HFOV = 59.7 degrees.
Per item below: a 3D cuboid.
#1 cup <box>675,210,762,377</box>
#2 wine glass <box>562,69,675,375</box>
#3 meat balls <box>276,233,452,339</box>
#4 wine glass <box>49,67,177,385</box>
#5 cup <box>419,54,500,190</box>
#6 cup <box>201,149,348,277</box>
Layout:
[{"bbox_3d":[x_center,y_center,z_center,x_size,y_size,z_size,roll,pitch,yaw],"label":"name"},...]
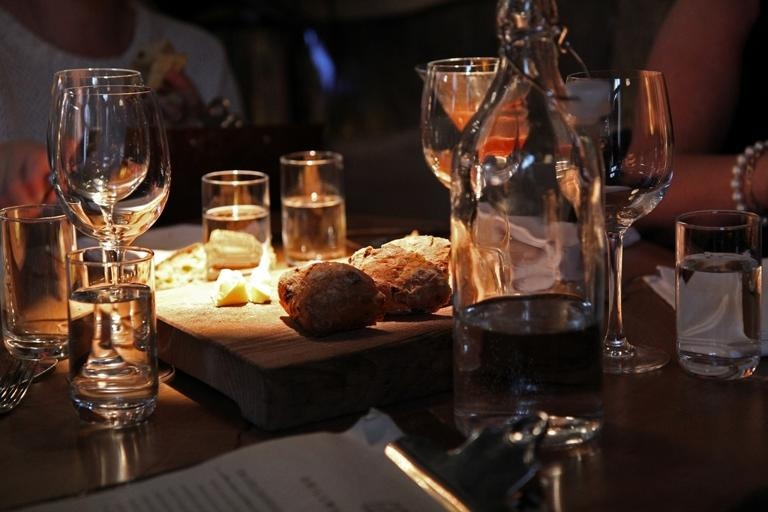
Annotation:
[{"bbox_3d":[0.373,0.041,0.744,0.087,0.178,0.076,2,11,28],"label":"cup"},{"bbox_3d":[0.271,-0.040,0.801,0.143,0.332,0.138,-2,2,32],"label":"wine glass"},{"bbox_3d":[-0.010,0.031,0.818,0.223,0.088,0.124,-7,10,-24],"label":"meat balls"},{"bbox_3d":[-0.321,-0.033,0.856,0.138,0.459,0.167,-2,7,-9],"label":"wine glass"},{"bbox_3d":[0.098,-0.159,0.896,0.074,0.210,0.080,-1,22,0],"label":"cup"},{"bbox_3d":[-0.179,-0.080,1.072,0.128,0.214,0.179,3,12,41],"label":"cup"}]
